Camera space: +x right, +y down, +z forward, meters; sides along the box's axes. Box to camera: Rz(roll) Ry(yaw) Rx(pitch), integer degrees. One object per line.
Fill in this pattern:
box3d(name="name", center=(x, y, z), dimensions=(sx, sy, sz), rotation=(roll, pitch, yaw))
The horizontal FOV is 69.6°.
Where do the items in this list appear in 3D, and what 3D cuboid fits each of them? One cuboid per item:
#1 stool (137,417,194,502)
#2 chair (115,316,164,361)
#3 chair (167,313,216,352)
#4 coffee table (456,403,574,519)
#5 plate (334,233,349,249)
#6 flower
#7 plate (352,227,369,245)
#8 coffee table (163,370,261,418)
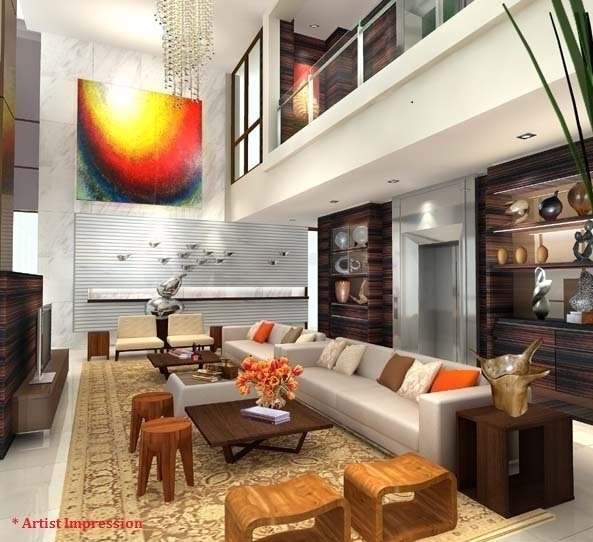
box3d(name="stool", center=(-0.930, 1.314, 3.045), dimensions=(0.380, 0.571, 0.377), rotation=(0, 0, -44))
box3d(name="chair", center=(-2.909, 1.121, 7.763), dimensions=(1.081, 0.774, 0.773), rotation=(0, 0, -24))
box3d(name="chair", center=(-2.058, 1.141, 8.120), dimensions=(0.824, 0.589, 0.754), rotation=(1, -1, -25))
box3d(name="coffee table", center=(1.503, 1.245, 3.073), dimensions=(0.830, 0.688, 0.622), rotation=(-1, 2, -30))
box3d(name="plate", center=(0.958, -0.641, 8.955), dimensions=(0.113, 0.293, 0.313), rotation=(0, 13, -41))
box3d(name="flower", center=(-0.322, 0.895, 3.797), dimensions=(0.628, 0.412, 0.622), rotation=(5, -7, -34))
box3d(name="plate", center=(1.239, -0.699, 8.348), dimensions=(0.036, 0.409, 0.588), rotation=(0, 0, -21))
box3d(name="coffee table", center=(-0.819, 1.188, 4.124), dimensions=(0.624, 0.208, 0.592), rotation=(0, -3, -29))
